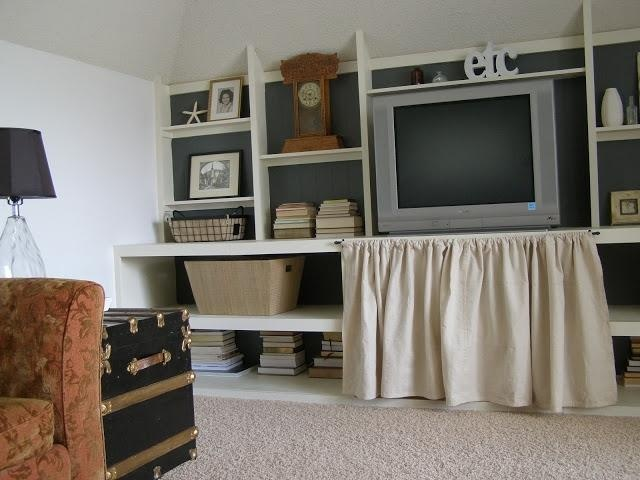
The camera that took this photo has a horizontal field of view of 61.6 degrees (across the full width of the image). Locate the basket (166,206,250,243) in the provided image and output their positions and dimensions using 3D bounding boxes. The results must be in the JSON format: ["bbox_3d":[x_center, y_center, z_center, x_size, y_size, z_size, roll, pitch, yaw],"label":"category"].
[{"bbox_3d":[-0.766,-0.087,3.697,0.436,0.239,0.298,-1,0,12],"label":"basket"}]

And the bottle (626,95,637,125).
[{"bbox_3d":[1.832,-0.761,3.152,0.062,0.174,0.143,2,9,31],"label":"bottle"}]

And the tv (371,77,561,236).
[{"bbox_3d":[0.832,-0.479,3.130,1.019,0.827,0.209,-1,7,6],"label":"tv"}]

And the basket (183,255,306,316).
[{"bbox_3d":[-0.492,0.303,3.446,0.528,0.286,0.391,-3,-6,18],"label":"basket"}]

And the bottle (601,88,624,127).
[{"bbox_3d":[1.706,-0.773,3.139,0.111,0.236,0.119,-2,7,0],"label":"bottle"}]
